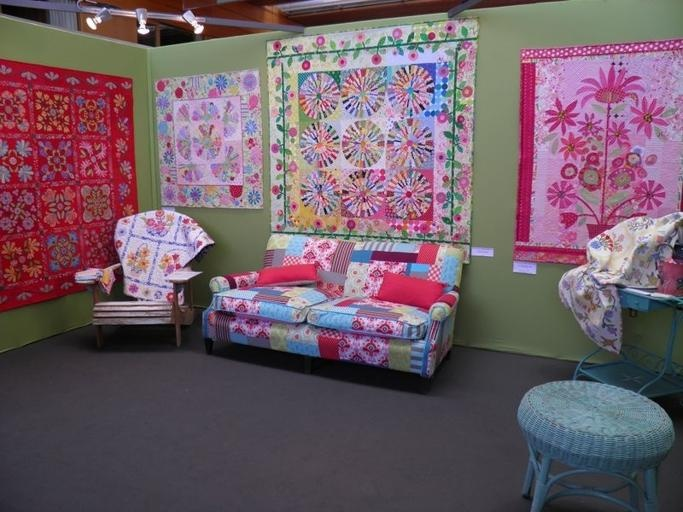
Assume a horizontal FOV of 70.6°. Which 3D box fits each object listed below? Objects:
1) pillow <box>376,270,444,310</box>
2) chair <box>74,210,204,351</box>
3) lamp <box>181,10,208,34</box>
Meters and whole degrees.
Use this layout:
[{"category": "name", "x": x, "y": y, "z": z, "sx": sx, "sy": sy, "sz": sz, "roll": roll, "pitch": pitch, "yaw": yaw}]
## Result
[{"category": "pillow", "x": 0.581, "y": 0.293, "z": 4.170, "sx": 0.549, "sy": 0.238, "sz": 0.271, "roll": 7, "pitch": 12, "yaw": 29}, {"category": "chair", "x": -1.991, "y": 0.169, "z": 5.107, "sx": 1.222, "sy": 1.235, "sz": 1.326, "roll": 0, "pitch": 6, "yaw": -3}, {"category": "lamp", "x": -1.349, "y": -2.129, "z": 4.367, "sx": 0.177, "sy": 0.161, "sz": 0.231, "roll": -2, "pitch": 11, "yaw": -18}]
